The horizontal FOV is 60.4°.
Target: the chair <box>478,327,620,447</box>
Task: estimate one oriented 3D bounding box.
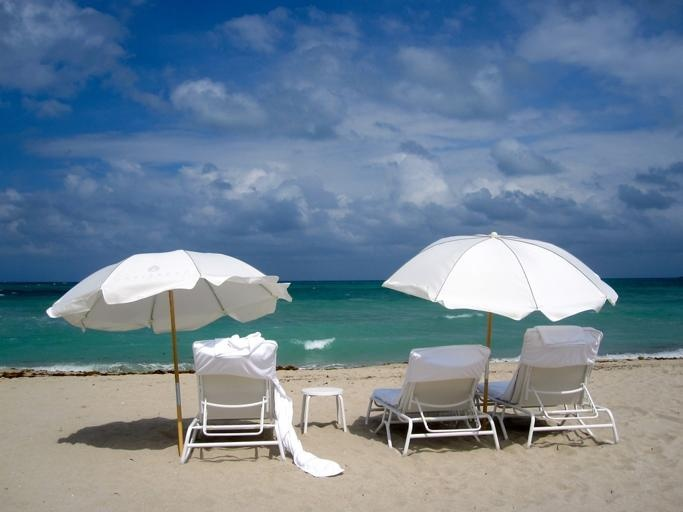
[{"bbox_3d":[3.255,2.064,9.810,1.561,1.804,2.540,-1,-5,-9],"label":"chair"}]

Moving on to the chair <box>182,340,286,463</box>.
[{"bbox_3d":[-1.582,1.983,9.497,1.281,1.521,2.037,0,4,-5],"label":"chair"}]

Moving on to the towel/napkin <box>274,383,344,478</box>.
[{"bbox_3d":[-0.518,2.442,8.601,0.508,1.167,1.261,-2,5,-40],"label":"towel/napkin"}]

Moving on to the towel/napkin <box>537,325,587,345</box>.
[{"bbox_3d":[3.345,1.175,8.890,0.512,0.151,0.372,1,5,-4],"label":"towel/napkin"}]
